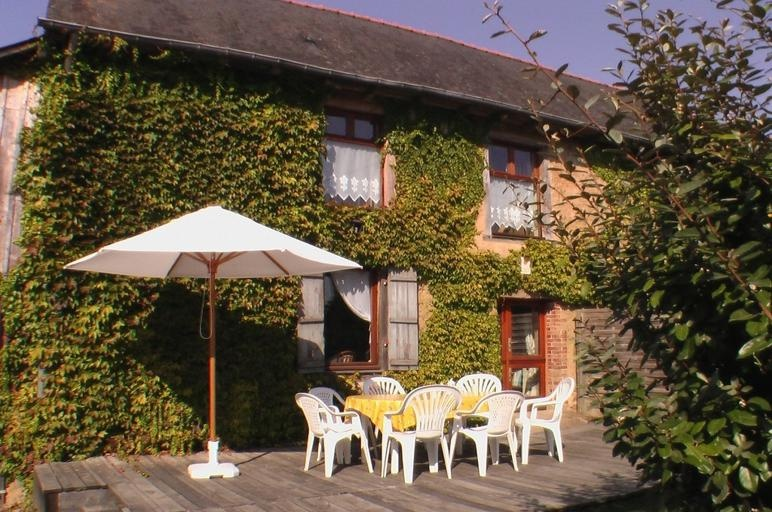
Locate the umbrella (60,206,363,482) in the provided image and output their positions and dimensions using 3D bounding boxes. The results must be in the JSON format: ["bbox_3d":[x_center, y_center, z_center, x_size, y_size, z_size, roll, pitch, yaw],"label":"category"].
[{"bbox_3d":[-2.225,0.744,8.832,3.205,3.058,3.279,-9,-14,40],"label":"umbrella"}]

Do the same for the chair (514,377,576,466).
[{"bbox_3d":[2.194,2.236,9.705,0.783,1.107,0.784,1,-1,-14],"label":"chair"}]

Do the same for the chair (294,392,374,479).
[{"bbox_3d":[-0.611,2.300,9.031,0.966,1.396,1.012,-1,-1,-32],"label":"chair"}]

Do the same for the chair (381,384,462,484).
[{"bbox_3d":[0.444,2.151,8.606,0.974,1.131,0.659,1,-2,0],"label":"chair"}]

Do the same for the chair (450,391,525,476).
[{"bbox_3d":[1.428,2.257,9.197,0.823,1.004,0.758,5,-7,-43],"label":"chair"}]
